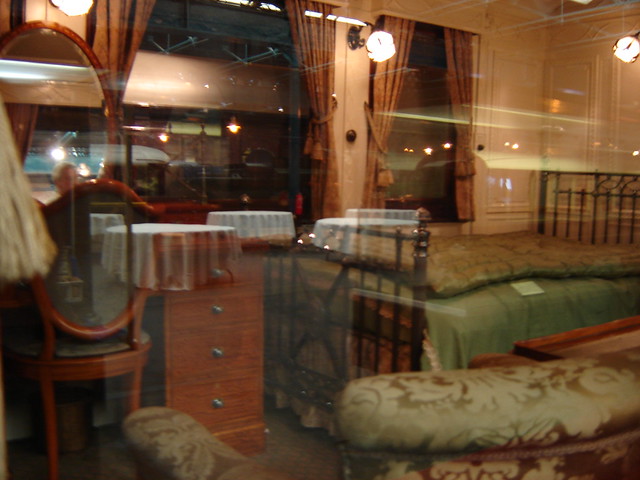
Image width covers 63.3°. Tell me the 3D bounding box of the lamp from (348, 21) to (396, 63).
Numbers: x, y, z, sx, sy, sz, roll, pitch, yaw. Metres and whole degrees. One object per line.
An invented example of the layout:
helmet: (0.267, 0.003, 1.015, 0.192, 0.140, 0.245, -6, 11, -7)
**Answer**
lamp: (0.112, -0.459, 1.202, 0.101, 0.085, 0.027, 11, 2, -14)
